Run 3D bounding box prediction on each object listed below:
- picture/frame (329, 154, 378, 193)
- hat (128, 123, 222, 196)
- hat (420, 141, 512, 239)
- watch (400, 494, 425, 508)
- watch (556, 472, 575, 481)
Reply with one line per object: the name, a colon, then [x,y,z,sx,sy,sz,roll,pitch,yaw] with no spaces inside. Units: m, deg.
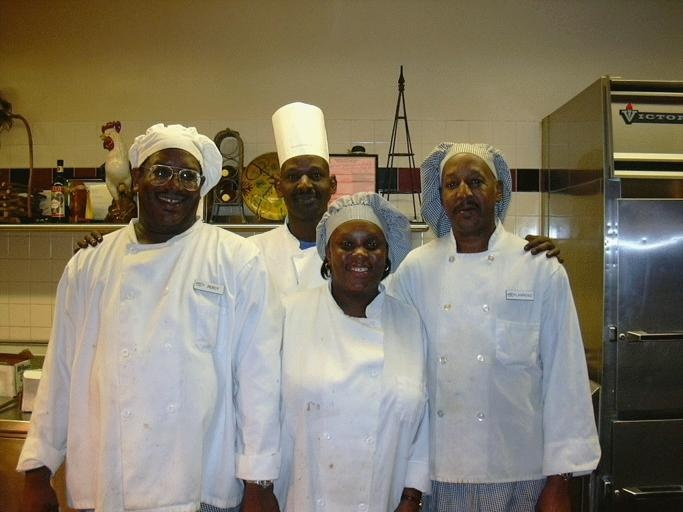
picture/frame: [0.082,-0.483,4.138,0.306,0.339,0.085,0,-2,2]
hat: [-0.724,-0.400,3.177,0.323,0.174,0.361,10,-3,-5]
hat: [0.558,-0.386,3.420,0.366,0.488,0.206,-1,41,8]
watch: [0.306,1.036,2.985,0.077,0.082,0.080,3,-5,-35]
watch: [0.973,0.961,3.034,0.068,0.041,0.050,0,0,-5]
